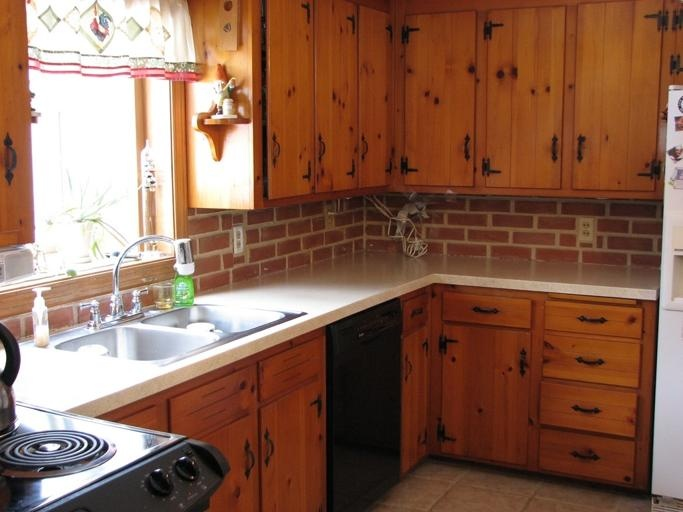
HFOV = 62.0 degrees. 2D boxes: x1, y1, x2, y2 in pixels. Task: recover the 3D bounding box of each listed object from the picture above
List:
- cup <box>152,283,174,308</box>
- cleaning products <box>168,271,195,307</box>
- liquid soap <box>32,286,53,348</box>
[{"bbox_3d":[-0.792,0.174,2.597,0.097,0.115,0.098,-2,0,0],"label":"cup"},{"bbox_3d":[-0.721,0.128,2.597,0.095,0.234,0.061,-2,-25,-12],"label":"cleaning products"},{"bbox_3d":[-1.110,0.211,2.112,0.069,0.206,0.206,-6,10,-21],"label":"liquid soap"}]
